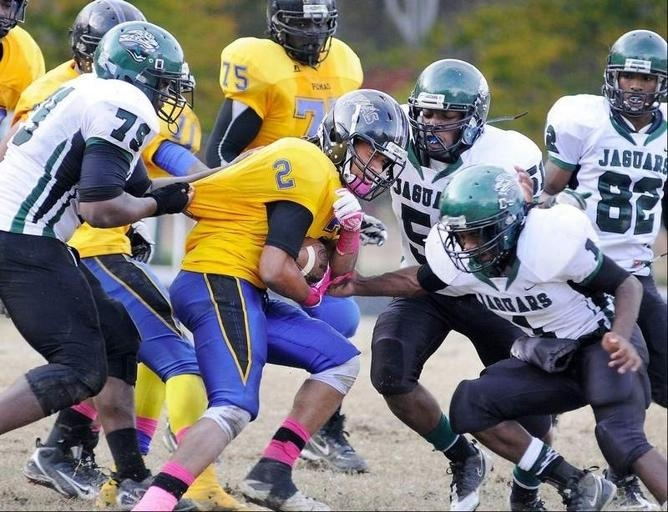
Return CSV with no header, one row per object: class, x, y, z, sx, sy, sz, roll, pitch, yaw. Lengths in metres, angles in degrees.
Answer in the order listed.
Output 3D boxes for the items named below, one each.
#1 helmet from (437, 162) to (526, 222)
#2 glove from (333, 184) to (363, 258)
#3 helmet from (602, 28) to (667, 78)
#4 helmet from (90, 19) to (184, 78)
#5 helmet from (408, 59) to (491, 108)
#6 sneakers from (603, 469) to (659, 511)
helmet,0.740,-0.323,5.336,0.386,0.279,0.282,4,55,-40
glove,0.061,-0.164,5.470,0.160,0.405,0.265,6,18,0
helmet,1.857,-1.255,6.412,0.285,0.282,0.361,11,14,12
helmet,-1.014,-1.069,5.344,0.420,0.302,0.293,-3,11,-10
helmet,0.665,-0.979,5.929,0.456,0.265,0.349,5,18,-2
sneakers,1.729,1.403,6.193,0.191,0.224,0.524,3,-6,-13
